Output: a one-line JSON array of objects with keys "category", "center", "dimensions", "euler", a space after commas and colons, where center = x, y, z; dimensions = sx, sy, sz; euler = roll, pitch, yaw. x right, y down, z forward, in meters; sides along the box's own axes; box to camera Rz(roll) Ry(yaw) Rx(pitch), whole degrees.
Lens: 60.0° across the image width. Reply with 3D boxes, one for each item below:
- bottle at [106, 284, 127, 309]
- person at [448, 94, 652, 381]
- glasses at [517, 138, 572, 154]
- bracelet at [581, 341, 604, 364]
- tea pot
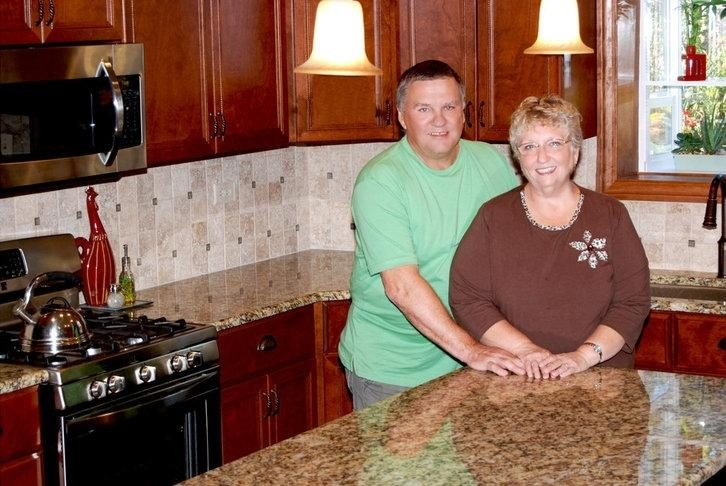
[{"category": "bottle", "center": [-1.182, 0.257, 2.980], "dimensions": [0.106, 0.139, 0.102], "euler": [0, -1, 0]}, {"category": "person", "center": [0.599, -0.049, 2.037], "dimensions": [0.484, 0.830, 0.444], "euler": [-11, 13, -36]}, {"category": "glasses", "center": [0.584, -0.317, 2.054], "dimensions": [0.160, 0.032, 0.044], "euler": [-1, 11, 12]}, {"category": "bracelet", "center": [0.714, 0.346, 1.971], "dimensions": [0.061, 0.064, 0.026], "euler": [-22, -12, -18]}, {"category": "tea pot", "center": [-1.218, 0.255, 2.607], "dimensions": [0.276, 0.294, 0.363], "euler": [6, 8, 35]}]
